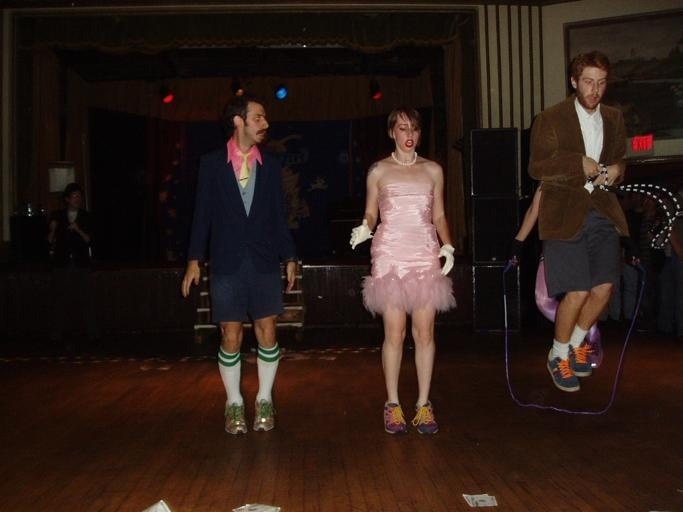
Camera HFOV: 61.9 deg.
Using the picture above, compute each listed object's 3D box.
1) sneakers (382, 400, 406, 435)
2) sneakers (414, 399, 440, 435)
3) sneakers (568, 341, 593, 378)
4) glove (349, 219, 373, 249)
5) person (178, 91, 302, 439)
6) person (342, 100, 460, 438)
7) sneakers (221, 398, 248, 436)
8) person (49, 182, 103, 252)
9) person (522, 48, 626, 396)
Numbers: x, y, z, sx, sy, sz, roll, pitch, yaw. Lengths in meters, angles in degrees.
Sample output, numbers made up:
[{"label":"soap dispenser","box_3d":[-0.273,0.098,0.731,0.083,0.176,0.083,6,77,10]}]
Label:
[{"label":"sneakers","box_3d":[0.345,1.034,3.677,0.149,0.185,0.170,-1,5,6]},{"label":"sneakers","box_3d":[0.531,1.037,3.651,0.161,0.183,0.139,-1,5,11]},{"label":"sneakers","box_3d":[1.766,0.769,4.258,0.110,0.165,0.355,-2,2,3]},{"label":"glove","box_3d":[0.106,-0.135,3.744,0.157,0.180,0.052,5,22,-16]},{"label":"person","box_3d":[-0.659,0.058,3.750,0.732,2.161,0.326,-3,5,-17]},{"label":"person","box_3d":[0.408,0.090,3.743,0.653,2.070,0.475,-1,5,10]},{"label":"sneakers","box_3d":[-0.696,1.052,3.726,0.143,0.185,0.175,-3,5,-16]},{"label":"person","box_3d":[-3.480,-0.451,7.289,0.568,0.914,0.640,-4,5,-19]},{"label":"person","box_3d":[1.701,-0.224,4.098,0.666,2.372,0.396,0,5,16]}]
